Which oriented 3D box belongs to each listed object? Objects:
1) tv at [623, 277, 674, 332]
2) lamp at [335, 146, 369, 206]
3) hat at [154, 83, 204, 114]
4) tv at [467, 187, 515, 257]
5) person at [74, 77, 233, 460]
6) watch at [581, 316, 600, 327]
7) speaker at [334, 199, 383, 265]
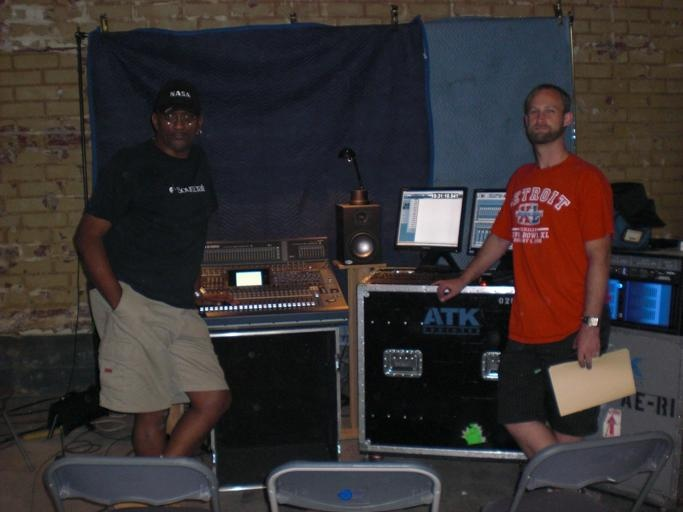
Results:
[{"bbox_3d":[1.847,0.288,4.909,0.264,0.246,0.242,10,-5,3],"label":"tv"},{"bbox_3d":[0.078,-0.551,5.489,0.200,0.404,0.398,-1,4,-1],"label":"lamp"},{"bbox_3d":[-0.972,-0.966,4.811,0.272,0.181,0.362,1,17,-10],"label":"hat"},{"bbox_3d":[1.001,-0.237,5.350,0.306,0.409,0.032,2,-2,44],"label":"tv"},{"bbox_3d":[-1.086,0.058,4.614,0.841,2.172,0.449,-2,4,-19],"label":"person"},{"bbox_3d":[1.316,0.345,4.252,0.073,0.049,0.075,4,-1,2],"label":"watch"},{"bbox_3d":[0.099,-0.138,5.301,0.359,0.514,0.359,-1,1,-7],"label":"speaker"}]
